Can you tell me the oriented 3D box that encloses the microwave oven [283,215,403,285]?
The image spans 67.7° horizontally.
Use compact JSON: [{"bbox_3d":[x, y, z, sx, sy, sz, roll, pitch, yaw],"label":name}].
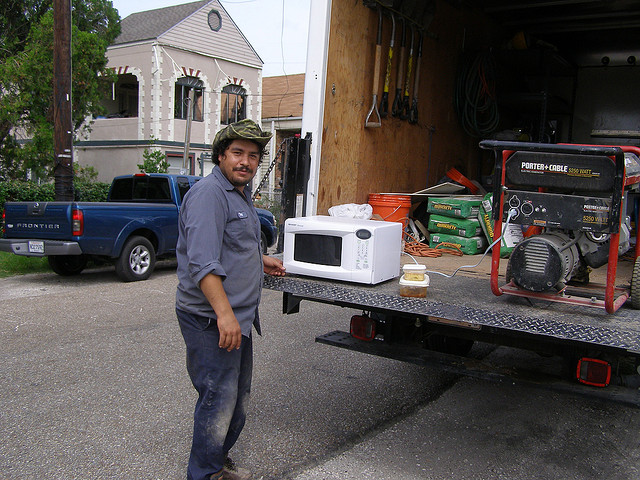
[{"bbox_3d":[0.147,0.124,4.082,0.805,0.521,0.604,6,-1,27],"label":"microwave oven"}]
